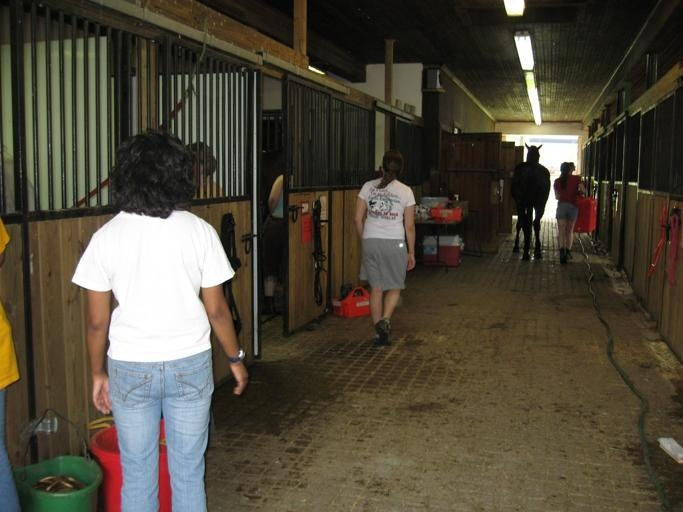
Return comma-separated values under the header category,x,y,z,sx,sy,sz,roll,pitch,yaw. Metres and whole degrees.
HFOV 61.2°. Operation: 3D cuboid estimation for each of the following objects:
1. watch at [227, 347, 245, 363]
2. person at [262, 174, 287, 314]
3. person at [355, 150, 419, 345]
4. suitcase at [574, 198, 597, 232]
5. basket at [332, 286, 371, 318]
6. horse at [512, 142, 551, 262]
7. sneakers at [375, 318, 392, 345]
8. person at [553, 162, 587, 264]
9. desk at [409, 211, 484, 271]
category,x,y,z,sx,sy,sz,roll,pitch,yaw
watch,-0.457,0.425,2.493,0.058,0.040,0.064,-1,1,12
person,-0.773,-0.097,6.469,0.185,1.525,0.485,-5,9,-35
person,0.407,-0.070,5.391,0.540,1.776,0.408,0,8,0
suitcase,5.456,-0.934,12.870,0.381,0.730,0.438,8,19,36
basket,0.136,0.529,6.611,0.415,0.351,0.303,-7,2,-30
horse,3.428,-0.954,10.493,0.642,2.028,0.487,3,8,20
sneakers,0.390,0.705,5.332,0.098,0.262,0.115,0,49,7
person,3.956,-0.752,10.150,0.481,1.726,0.366,-5,9,-34
desk,1.746,-0.203,10.059,0.912,0.702,0.997,3,7,22
